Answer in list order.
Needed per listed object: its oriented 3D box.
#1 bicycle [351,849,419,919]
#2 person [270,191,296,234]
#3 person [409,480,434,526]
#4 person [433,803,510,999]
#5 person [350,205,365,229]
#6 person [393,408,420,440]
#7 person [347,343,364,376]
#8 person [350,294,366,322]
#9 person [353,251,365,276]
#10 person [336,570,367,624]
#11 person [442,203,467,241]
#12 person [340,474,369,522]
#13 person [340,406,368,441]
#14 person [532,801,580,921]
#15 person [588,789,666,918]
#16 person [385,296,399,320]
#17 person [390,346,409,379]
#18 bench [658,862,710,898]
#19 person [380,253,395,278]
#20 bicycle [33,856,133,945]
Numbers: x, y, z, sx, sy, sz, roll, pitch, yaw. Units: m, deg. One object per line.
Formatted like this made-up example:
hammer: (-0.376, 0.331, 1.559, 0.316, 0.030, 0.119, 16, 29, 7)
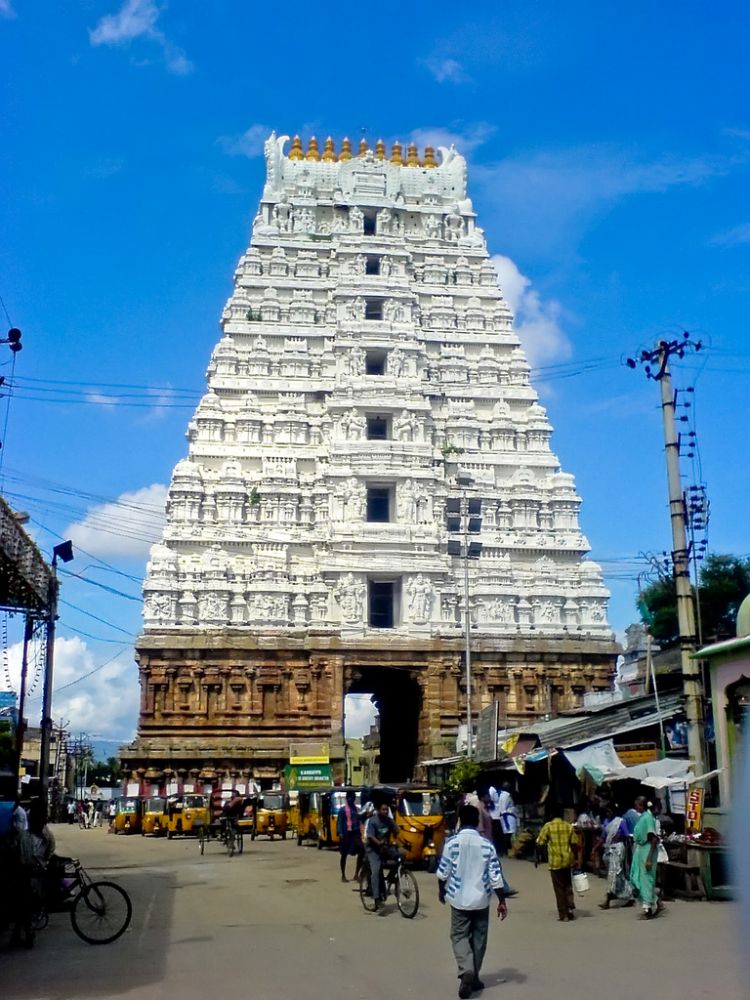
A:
bicycle: (0.321, 5.033, 14.478, 0.621, 0.682, 1.205, 17, -32, -31)
person: (-4.349, -13.333, 52.107, 1.186, 2.269, 0.653, 0, -13, -1)
person: (1.837, 0.174, 43.482, 0.907, 1.731, 0.352, 9, -16, -34)
person: (0.831, 3.427, 9.663, 0.568, 1.523, 1.410, -1, -13, 5)
person: (-0.837, -12.837, 51.222, 0.653, 1.481, 0.515, 6, -15, -24)
person: (1.224, -3.042, 44.936, 1.202, 1.430, 0.819, 2, -17, -9)
person: (-0.834, -5.764, 46.291, 0.788, 1.536, 0.620, 2, -14, -10)
person: (-0.774, -8.176, 48.003, 0.836, 1.335, 0.603, 4, -14, -15)
person: (-0.784, -10.420, 49.450, 0.639, 1.522, 0.910, 1, -13, -4)
person: (-0.923, 3.726, 41.467, 1.097, 1.962, 0.356, 1, -14, -2)
person: (3.844, -13.368, 53.675, 1.404, 2.045, 0.431, 6, -15, -25)
person: (-0.819, -0.008, 43.299, 0.973, 1.759, 0.507, 3, -14, -11)
person: (-0.943, -3.067, 44.666, 1.531, 1.729, 0.616, 1, -16, -8)
person: (2.289, 4.566, 13.912, 0.437, 1.193, 1.371, -2, -13, 8)
person: (3.280, 4.537, 14.266, 0.752, 1.408, 1.721, -1, -13, 5)
person: (0.722, -8.249, 48.103, 0.717, 1.172, 0.195, 0, -14, 0)
person: (0.984, -5.709, 46.518, 0.943, 1.355, 0.409, 0, -13, 1)
bench: (4.094, 5.093, 14.880, 0.239, 0.465, 0.738, 7, -15, -29)
person: (0.601, -10.401, 49.632, 0.798, 1.307, 0.683, 0, -13, -1)
bicycle: (-3.203, 4.374, 12.218, 0.948, 0.885, 1.393, 3, -13, -14)
